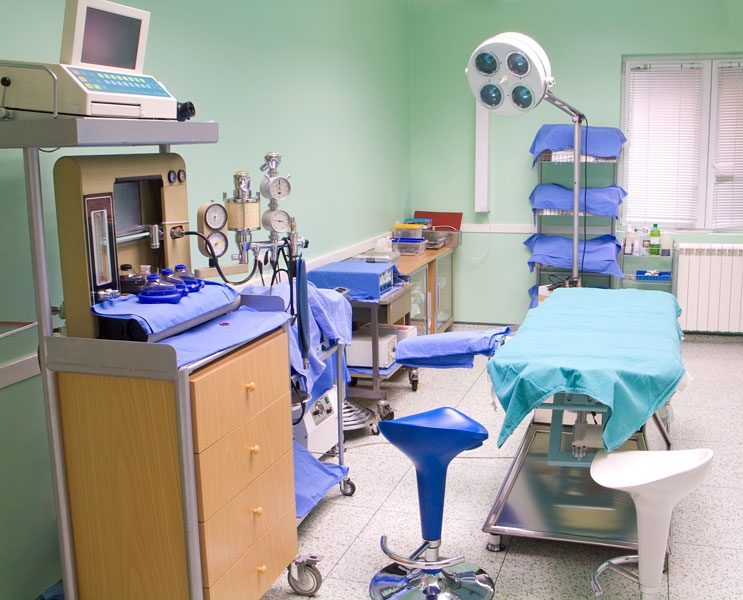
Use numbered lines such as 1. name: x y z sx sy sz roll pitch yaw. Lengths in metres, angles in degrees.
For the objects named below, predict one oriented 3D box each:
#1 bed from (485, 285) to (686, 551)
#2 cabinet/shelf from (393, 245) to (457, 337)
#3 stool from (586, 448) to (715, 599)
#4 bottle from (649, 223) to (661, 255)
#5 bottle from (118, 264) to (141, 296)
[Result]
1. bed: 0.978 0.568 2.746 0.501 0.436 1.233 0 13 14
2. cabinet/shelf: 0.466 -0.087 5.387 0.332 0.687 0.799 1 9 15
3. stool: 1.061 0.801 2.348 0.401 0.568 0.427 2 14 15
4. bottle: 2.794 -0.590 5.930 0.109 0.282 0.188 4 15 24
5. bottle: -0.860 -0.070 2.196 0.095 0.100 0.093 -5 11 -31
